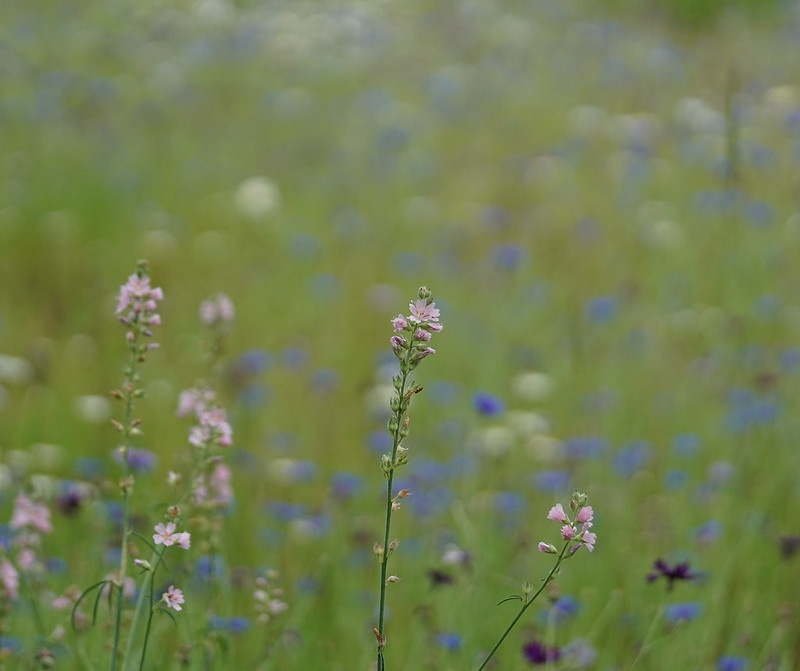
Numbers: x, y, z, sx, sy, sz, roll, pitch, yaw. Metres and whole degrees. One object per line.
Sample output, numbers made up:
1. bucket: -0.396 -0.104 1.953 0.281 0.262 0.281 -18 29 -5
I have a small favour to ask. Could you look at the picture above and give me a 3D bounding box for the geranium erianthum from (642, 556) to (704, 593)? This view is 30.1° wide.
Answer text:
1. geranium erianthum: 0.619 0.533 3.346 0.078 0.042 0.080 11 -9 -26
